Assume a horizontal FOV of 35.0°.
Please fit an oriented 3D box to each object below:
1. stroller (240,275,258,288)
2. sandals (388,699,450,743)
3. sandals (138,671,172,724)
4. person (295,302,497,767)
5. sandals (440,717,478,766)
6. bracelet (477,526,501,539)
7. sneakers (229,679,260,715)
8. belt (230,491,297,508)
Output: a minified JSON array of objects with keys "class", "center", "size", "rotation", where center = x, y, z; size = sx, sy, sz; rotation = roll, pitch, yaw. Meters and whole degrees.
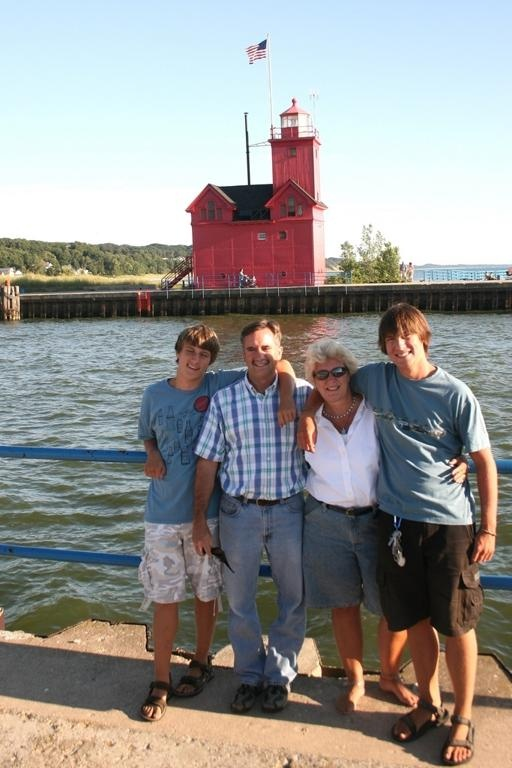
[{"class":"stroller","center":[-0.377,-5.344,42.590],"size":[0.916,0.792,0.591],"rotation":[1,3,-1]},{"class":"sandals","center":[0.644,1.337,3.258],"size":[0.259,0.098,0.088],"rotation":[-11,10,-35]},{"class":"sandals","center":[-0.417,1.314,3.384],"size":[0.104,0.105,0.298],"rotation":[-1,-8,5]},{"class":"person","center":[0.733,0.504,3.314],"size":[0.413,1.598,0.834],"rotation":[-5,13,-19]},{"class":"sandals","center":[0.752,1.355,3.081],"size":[0.074,0.077,0.216],"rotation":[0,4,19]},{"class":"bracelet","center":[0.920,0.596,3.229],"size":[0.059,0.019,0.049],"rotation":[9,5,-14]},{"class":"sneakers","center":[-0.047,1.330,3.440],"size":[0.087,0.056,0.176],"rotation":[3,11,15]},{"class":"belt","center":[0.024,0.522,3.634],"size":[0.280,0.040,0.059],"rotation":[0,11,3]}]
